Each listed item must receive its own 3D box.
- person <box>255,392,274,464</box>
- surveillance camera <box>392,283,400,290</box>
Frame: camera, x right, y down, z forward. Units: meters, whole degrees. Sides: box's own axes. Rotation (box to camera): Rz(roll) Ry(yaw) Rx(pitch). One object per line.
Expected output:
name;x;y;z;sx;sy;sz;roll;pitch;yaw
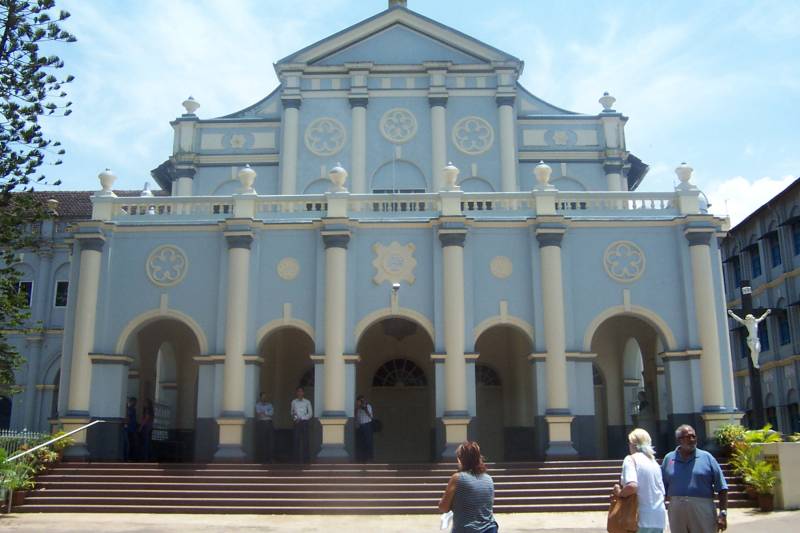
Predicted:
person;-4.334;5.103;21.490;0.512;2.123;0.612;-1;-15;3
surveillance camera;-0.089;0.639;21.905;0.265;0.208;0.246;1;-14;-5
